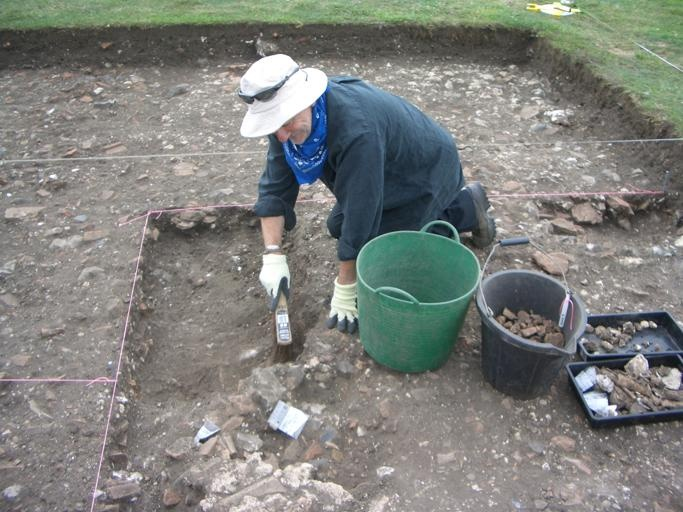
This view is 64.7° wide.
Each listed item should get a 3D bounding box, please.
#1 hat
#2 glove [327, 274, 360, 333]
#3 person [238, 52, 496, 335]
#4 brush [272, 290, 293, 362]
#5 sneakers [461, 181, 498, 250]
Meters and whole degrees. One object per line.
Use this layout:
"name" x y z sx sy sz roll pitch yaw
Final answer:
"hat" -0.292 -0.838 2.678 0.398 0.225 0.425 -6 40 48
"glove" 0.016 0.284 3.161 0.196 0.299 0.088 5 22 11
"person" 0.180 -0.455 3.255 1.602 1.694 0.832 -29 36 -27
"brush" -0.331 0.415 3.194 0.111 0.143 0.424 -2 85 -3
"sneakers" 0.912 -0.245 3.509 0.219 0.162 0.499 11 72 -43
